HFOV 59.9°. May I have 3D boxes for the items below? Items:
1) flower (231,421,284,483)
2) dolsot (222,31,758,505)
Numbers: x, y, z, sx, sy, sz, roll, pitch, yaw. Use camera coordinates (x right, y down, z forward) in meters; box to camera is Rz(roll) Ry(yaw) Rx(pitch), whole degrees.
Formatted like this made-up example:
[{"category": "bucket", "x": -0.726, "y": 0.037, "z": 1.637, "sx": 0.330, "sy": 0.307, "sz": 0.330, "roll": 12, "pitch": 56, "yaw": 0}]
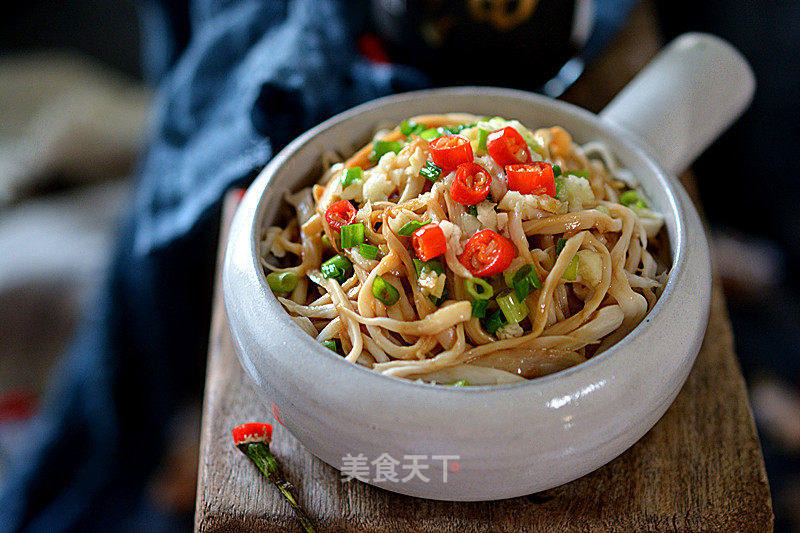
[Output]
[{"category": "flower", "x": -0.334, "y": 0.473, "z": 1.734, "sx": 0.103, "sy": 0.102, "sz": 0.186, "roll": -26, "pitch": 76, "yaw": -27}, {"category": "dolsot", "x": 0.196, "y": 0.148, "z": 2.009, "sx": 1.006, "sy": 1.226, "sz": 1.164, "roll": -5, "pitch": 34, "yaw": -4}]
